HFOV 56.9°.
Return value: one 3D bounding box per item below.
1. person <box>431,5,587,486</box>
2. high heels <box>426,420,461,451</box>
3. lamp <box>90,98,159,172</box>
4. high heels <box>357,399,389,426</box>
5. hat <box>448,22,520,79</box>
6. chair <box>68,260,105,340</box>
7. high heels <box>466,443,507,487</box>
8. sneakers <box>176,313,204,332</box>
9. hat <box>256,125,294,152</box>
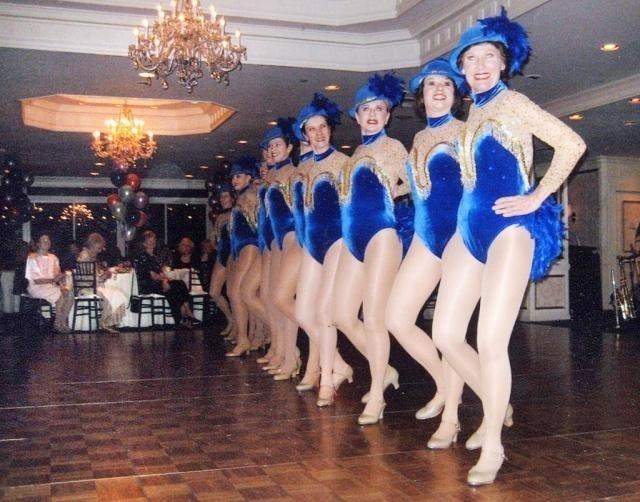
[{"bbox_3d":[0.901,-0.076,2.901,0.693,2.312,0.523,0,1,23],"label":"person"},{"bbox_3d":[0.683,1.020,3.305,0.226,0.106,0.089,7,-9,-45],"label":"high heels"},{"bbox_3d":[-3.220,-1.962,9.708,1.098,1.287,1.082,0,-3,0],"label":"lamp"},{"bbox_3d":[0.327,1.012,3.744,0.091,0.090,0.222,-4,-5,32],"label":"high heels"},{"bbox_3d":[0.861,-1.081,3.075,0.308,0.184,0.319,16,-27,-34],"label":"hat"},{"bbox_3d":[-3.366,0.653,8.483,0.426,0.983,0.433,-1,1,-23],"label":"chair"},{"bbox_3d":[0.796,1.002,2.805,0.097,0.100,0.258,-4,8,36],"label":"high heels"},{"bbox_3d":[-2.019,1.089,9.016,0.516,0.181,0.168,-9,-8,35],"label":"sneakers"},{"bbox_3d":[-0.365,-1.070,5.544,0.239,0.107,0.279,-12,1,8],"label":"hat"}]
